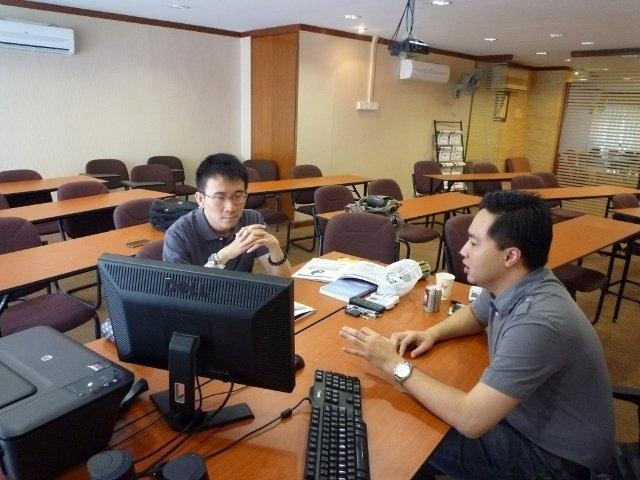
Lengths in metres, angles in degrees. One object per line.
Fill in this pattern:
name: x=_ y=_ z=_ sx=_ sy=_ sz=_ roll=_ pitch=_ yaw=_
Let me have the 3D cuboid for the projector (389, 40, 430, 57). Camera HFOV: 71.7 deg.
projector: x=0.773 y=-1.739 z=4.025 sx=0.238 sy=0.114 sz=0.242 roll=13 pitch=20 yaw=38

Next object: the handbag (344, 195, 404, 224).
handbag: x=0.498 y=-0.294 z=3.877 sx=0.339 sy=0.151 sz=0.297 roll=-4 pitch=15 yaw=-6

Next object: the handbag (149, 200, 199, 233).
handbag: x=-1.109 y=-0.238 z=3.494 sx=0.320 sy=0.135 sz=0.403 roll=20 pitch=31 yaw=40

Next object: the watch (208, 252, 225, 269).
watch: x=-0.479 y=0.096 z=2.062 sx=0.065 sy=0.043 sz=0.065 roll=9 pitch=20 yaw=-14

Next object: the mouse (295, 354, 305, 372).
mouse: x=-0.083 y=0.489 z=1.767 sx=0.049 sy=0.057 sz=0.045 roll=6 pitch=11 yaw=27

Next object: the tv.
tv: x=-0.414 y=0.371 z=1.470 sx=0.519 sy=0.406 sz=0.199 roll=8 pitch=27 yaw=11

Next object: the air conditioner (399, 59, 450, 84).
air conditioner: x=1.702 y=-2.778 z=7.286 sx=0.985 sy=0.304 sz=0.229 roll=-12 pitch=18 yaw=-36

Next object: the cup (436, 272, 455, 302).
cup: x=0.651 y=0.243 z=2.314 sx=0.127 sy=0.131 sz=0.129 roll=1 pitch=8 yaw=0
